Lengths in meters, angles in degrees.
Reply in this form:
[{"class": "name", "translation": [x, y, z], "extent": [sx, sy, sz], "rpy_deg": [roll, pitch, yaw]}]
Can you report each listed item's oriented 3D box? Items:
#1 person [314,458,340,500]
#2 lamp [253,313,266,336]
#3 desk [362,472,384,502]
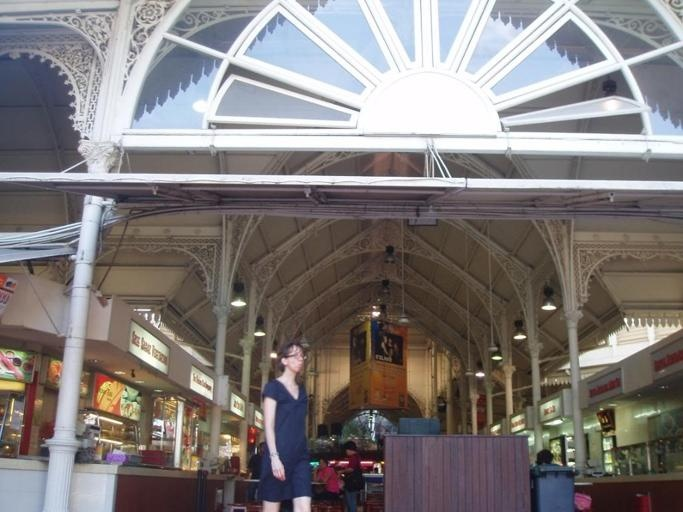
[{"class": "person", "translation": [-0.385, 5.016, 13.938], "extent": [0.656, 0.826, 0.637], "rpy_deg": [-5, -6, 39]}, {"class": "lamp", "translation": [-2.757, 2.315, 20.554], "extent": [0.332, 0.662, 1.214], "rpy_deg": [3, -10, -9]}, {"class": "desk", "translation": [0.758, 5.521, 14.951], "extent": [0.451, 0.542, 1.362], "rpy_deg": [1, -10, 2]}]
